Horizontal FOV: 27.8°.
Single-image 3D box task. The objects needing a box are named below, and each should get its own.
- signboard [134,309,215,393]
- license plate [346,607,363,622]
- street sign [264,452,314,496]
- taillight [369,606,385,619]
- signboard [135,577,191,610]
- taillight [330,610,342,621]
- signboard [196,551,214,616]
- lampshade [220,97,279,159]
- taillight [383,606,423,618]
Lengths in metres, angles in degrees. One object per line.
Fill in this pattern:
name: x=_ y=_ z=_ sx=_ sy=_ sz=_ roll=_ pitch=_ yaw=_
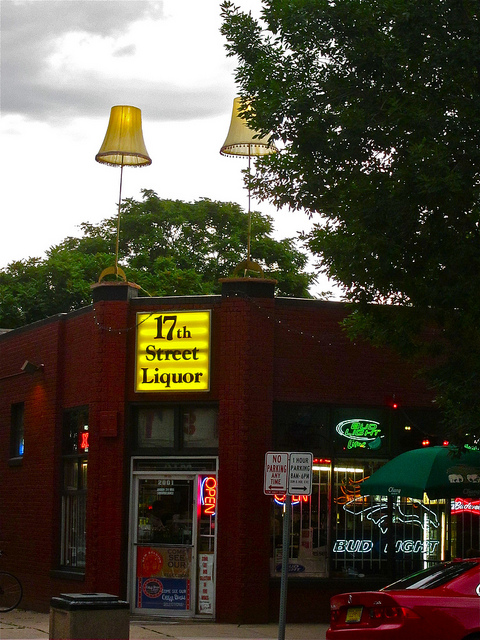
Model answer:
signboard: x=-1.082 y=0.517 z=15.757 sx=1.332 sy=1.317 sz=0.143 roll=-3 pitch=-11 yaw=21
license plate: x=1.107 y=2.852 z=9.395 sx=0.030 sy=0.175 sz=0.206 roll=29 pitch=-19 yaw=-37
street sign: x=0.546 y=1.763 z=11.244 sx=0.478 sy=0.507 sz=0.436 roll=-2 pitch=-8 yaw=31
taillight: x=1.293 y=2.761 z=9.160 sx=0.155 sy=0.135 sz=0.076 roll=2 pitch=4 yaw=28
signboard: x=-1.224 y=4.353 z=15.397 sx=0.913 sy=0.486 sz=0.761 roll=4 pitch=-8 yaw=-9
taillight: x=0.956 y=2.962 z=9.711 sx=0.114 sy=0.133 sz=0.042 roll=1 pitch=4 yaw=20
signboard: x=-0.550 y=4.069 z=15.014 sx=0.253 sy=0.934 sz=0.100 roll=0 pitch=-10 yaw=7
lampshade: x=0.105 y=-3.254 z=16.588 sx=0.893 sy=1.204 sz=2.384 roll=1 pitch=-10 yaw=-2
taillight: x=1.469 y=2.713 z=9.016 sx=0.179 sy=0.062 sz=0.184 roll=15 pitch=-13 yaw=-32
